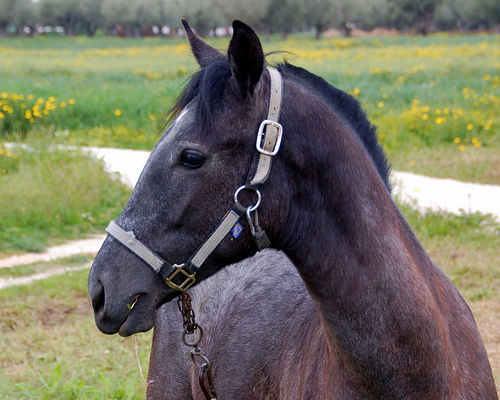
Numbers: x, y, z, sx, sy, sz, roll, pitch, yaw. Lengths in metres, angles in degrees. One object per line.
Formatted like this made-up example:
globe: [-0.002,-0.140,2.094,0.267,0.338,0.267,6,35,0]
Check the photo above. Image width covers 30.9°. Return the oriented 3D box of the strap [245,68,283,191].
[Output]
strap: [0.135,-0.489,6.623,0.124,0.744,0.369,11,-4,-21]
